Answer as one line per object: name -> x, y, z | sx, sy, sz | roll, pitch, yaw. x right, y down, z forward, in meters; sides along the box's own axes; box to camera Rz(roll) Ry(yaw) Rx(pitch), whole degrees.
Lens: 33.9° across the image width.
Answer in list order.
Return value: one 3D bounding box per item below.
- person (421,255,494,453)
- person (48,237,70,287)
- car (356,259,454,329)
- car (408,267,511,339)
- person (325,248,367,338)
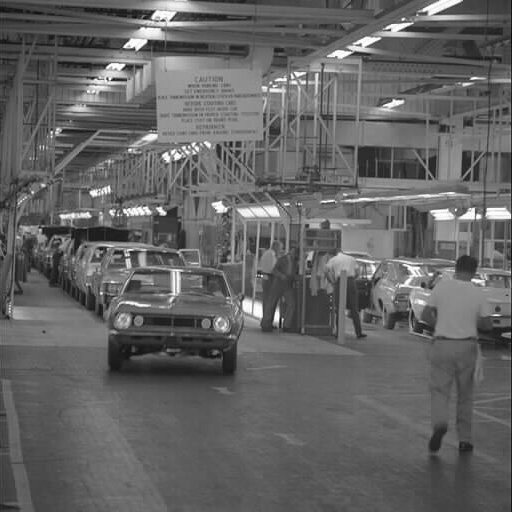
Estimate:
person -> 1.985, 0.991, 8.247 | 0.646, 1.573, 0.636 | 1, 1, 9
person -> -7.714, 0.300, 32.550 | 0.539, 2.504, 1.298 | 5, 2, -11
car -> 3.587, 0.945, 21.241 | 1.160, 1.169, 2.360 | 0, 6, -11
car -> 4.238, 1.183, 17.889 | 1.495, 1.801, 3.363 | 0, 4, -11
person -> 1.906, 0.881, 18.243 | 0.878, 1.352, 1.691 | 2, 1, 23
